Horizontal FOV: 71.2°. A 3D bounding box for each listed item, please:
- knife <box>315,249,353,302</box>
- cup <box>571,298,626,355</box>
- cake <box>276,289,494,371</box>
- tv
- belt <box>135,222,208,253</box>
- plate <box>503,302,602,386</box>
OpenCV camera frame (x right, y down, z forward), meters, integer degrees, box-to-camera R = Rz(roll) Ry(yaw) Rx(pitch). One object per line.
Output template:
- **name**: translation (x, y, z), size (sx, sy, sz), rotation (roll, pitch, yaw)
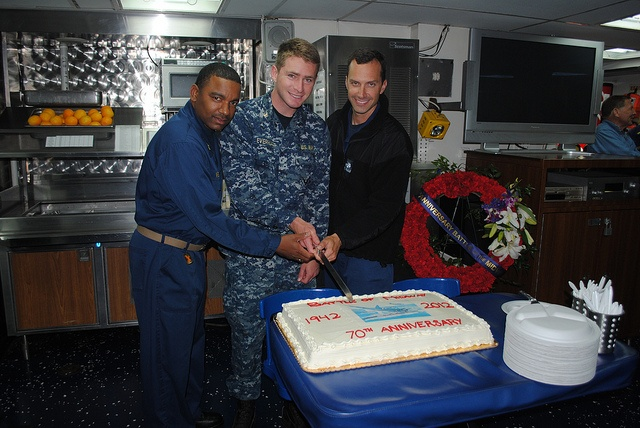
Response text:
- **knife**: translation (0.102, 0.402, 2.954), size (0.058, 0.385, 0.062), rotation (-19, -20, -37)
- **cup**: translation (1.484, 0.601, 2.409), size (0.232, 0.194, 0.253), rotation (2, -4, 0)
- **cake**: translation (0.308, 0.596, 2.351), size (0.693, 0.098, 0.473), rotation (-2, 11, -14)
- **tv**: translation (2.280, -1.344, 4.824), size (1.485, 1.060, 0.444), rotation (0, 4, -14)
- **belt**: translation (-0.964, 0.168, 2.879), size (0.236, 0.060, 0.221), rotation (20, 2, -9)
- **plate**: translation (1.116, 0.638, 2.134), size (0.362, 0.219, 0.377), rotation (-1, 15, 6)
